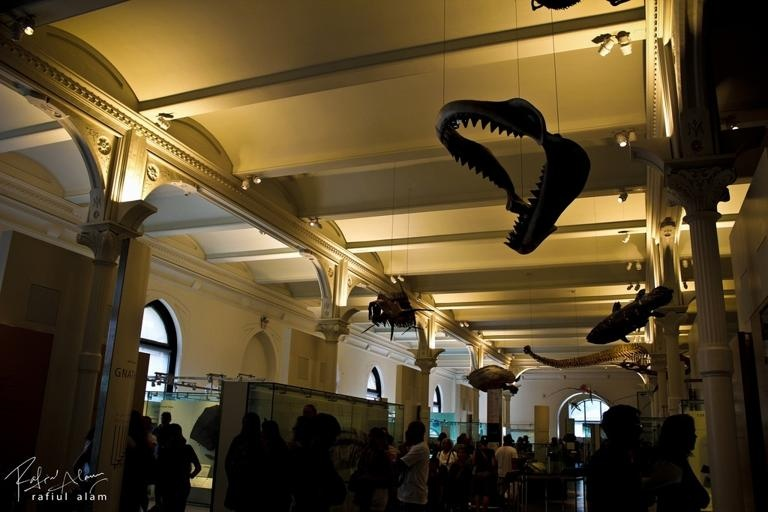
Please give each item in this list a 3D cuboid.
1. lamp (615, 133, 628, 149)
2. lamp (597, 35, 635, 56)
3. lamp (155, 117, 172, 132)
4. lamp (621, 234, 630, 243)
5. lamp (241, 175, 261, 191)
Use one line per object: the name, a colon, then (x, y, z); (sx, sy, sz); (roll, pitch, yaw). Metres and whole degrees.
lamp: (4.345, -2.099, 10.331); (0.202, 0.181, 0.290); (-5, -22, 23)
lamp: (3.586, -3.262, 8.776); (0.318, 0.194, 0.422); (27, -27, -24)
lamp: (-4.128, -2.480, 10.617); (0.221, 0.214, 0.199); (0, 2, 1)
lamp: (6.249, -0.486, 14.679); (0.164, 0.093, 0.223); (3, -10, -3)
lamp: (-2.936, -1.606, 12.354); (0.379, 0.120, 0.277); (-10, -14, 32)
